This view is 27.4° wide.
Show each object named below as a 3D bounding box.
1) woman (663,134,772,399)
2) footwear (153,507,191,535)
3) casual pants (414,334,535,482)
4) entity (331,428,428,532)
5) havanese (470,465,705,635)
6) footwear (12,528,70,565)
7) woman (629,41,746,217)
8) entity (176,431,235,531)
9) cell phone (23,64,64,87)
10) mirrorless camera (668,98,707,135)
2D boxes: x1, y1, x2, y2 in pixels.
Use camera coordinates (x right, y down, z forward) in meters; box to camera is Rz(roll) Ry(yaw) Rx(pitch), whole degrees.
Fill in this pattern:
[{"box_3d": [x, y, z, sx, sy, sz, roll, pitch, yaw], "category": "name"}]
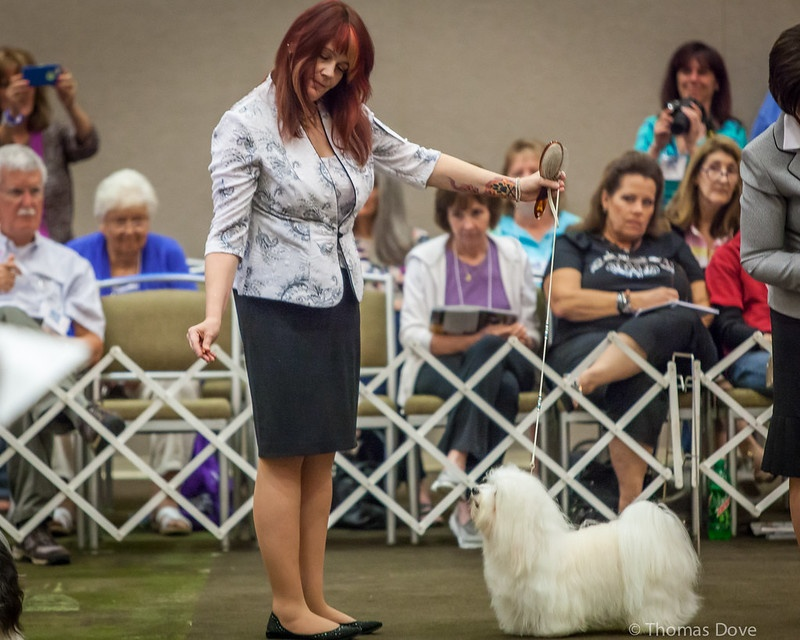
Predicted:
[{"box_3d": [1.411, -0.253, 7.130, 0.530, 1.189, 0.803, 2, -13, 3], "category": "woman"}, {"box_3d": [-0.983, 0.851, 7.043, 0.124, 0.093, 0.218, 1, -8, -9], "category": "footwear"}, {"box_3d": [0.337, 0.336, 6.902, 0.580, 0.525, 0.168, 21, -4, -34], "category": "casual pants"}, {"box_3d": [-0.162, 0.710, 7.494, 0.406, 0.516, 0.559, -3, -4, 36], "category": "entity"}, {"box_3d": [0.629, 0.806, 5.705, 0.798, 0.556, 0.472, 0, -11, 4], "category": "havanese"}, {"box_3d": [-1.450, 0.914, 6.642, 0.263, 0.128, 0.106, -1, -3, 27], "category": "footwear"}, {"box_3d": [1.296, -0.893, 7.449, 0.424, 0.752, 0.403, 12, 4, 20], "category": "woman"}, {"box_3d": [-0.809, 0.702, 7.235, 0.118, 0.283, 0.365, 20, 0, -14], "category": "entity"}, {"box_3d": [-1.526, -1.038, 6.976, 0.163, 0.090, 0.064, 2, 6, 12], "category": "cell phone"}, {"box_3d": [1.269, -0.916, 7.304, 0.102, 0.173, 0.164, -22, -34, 35], "category": "mirrorless camera"}]
